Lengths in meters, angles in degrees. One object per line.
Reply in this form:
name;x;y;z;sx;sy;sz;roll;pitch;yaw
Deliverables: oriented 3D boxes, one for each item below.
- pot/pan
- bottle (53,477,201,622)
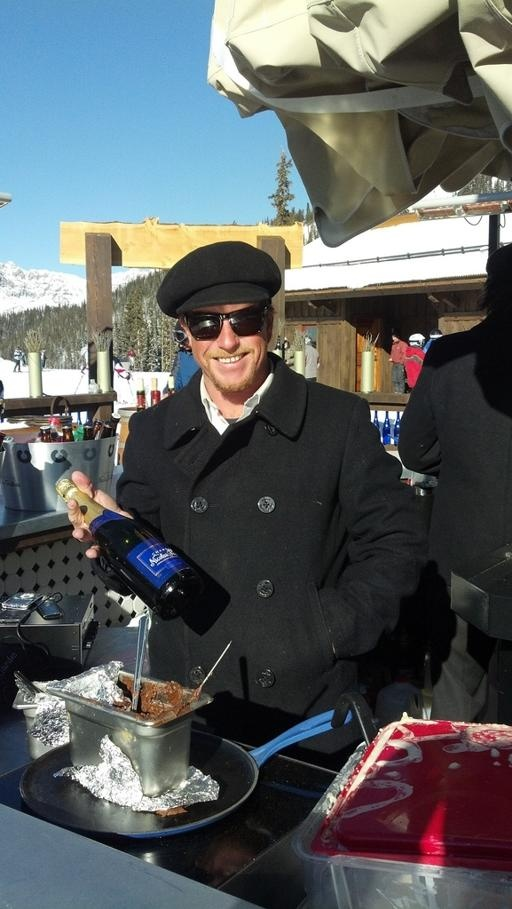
pot/pan;-0.119;0.403;1.025;0.350;0.053;0.209;9;-9;-35
bottle;-0.299;0.176;1.492;0.097;0.099;0.376;-34;66;-26
